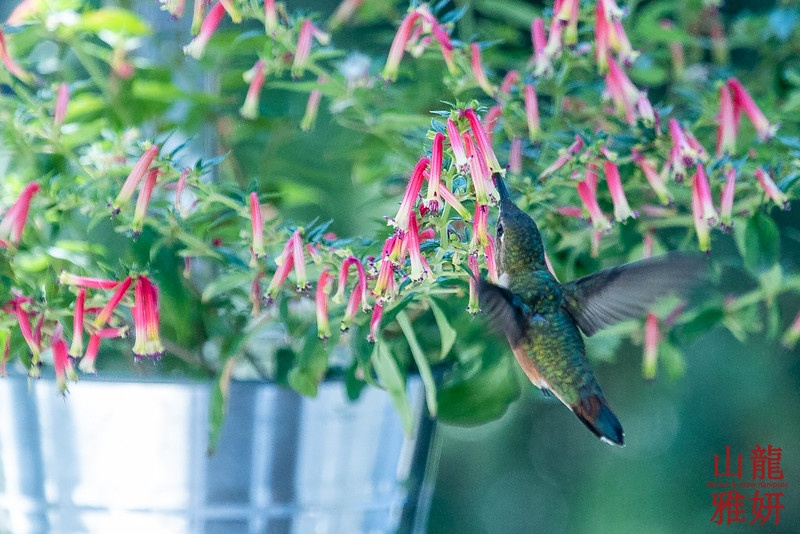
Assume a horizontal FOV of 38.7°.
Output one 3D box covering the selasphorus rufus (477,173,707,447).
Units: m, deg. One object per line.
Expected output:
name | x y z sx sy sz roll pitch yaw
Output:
selasphorus rufus | 0.253 0.074 1.800 0.385 0.309 0.431 -2 29 -22
